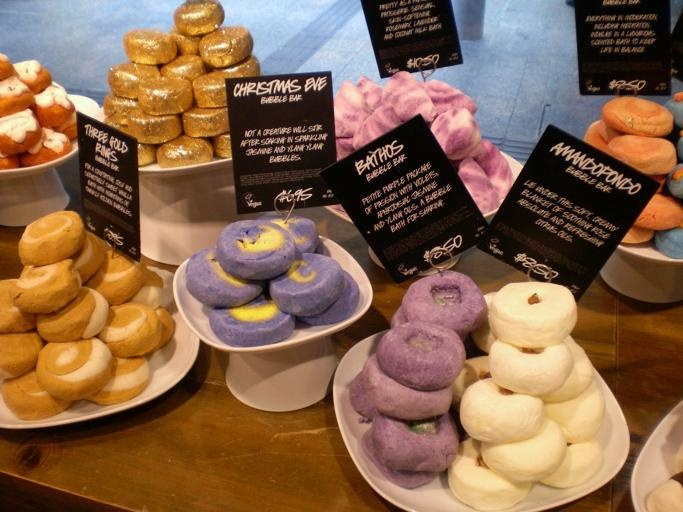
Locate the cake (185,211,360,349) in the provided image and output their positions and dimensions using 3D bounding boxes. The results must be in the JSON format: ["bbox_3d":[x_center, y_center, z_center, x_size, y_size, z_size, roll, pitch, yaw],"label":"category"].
[{"bbox_3d":[-0.136,0.031,1.042,0.312,0.153,0.271,-25,47,-17],"label":"cake"}]

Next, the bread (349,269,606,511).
[{"bbox_3d":[0.243,0.217,0.936,0.449,0.269,0.381,15,49,21],"label":"bread"}]

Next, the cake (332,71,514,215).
[{"bbox_3d":[0.204,-0.320,1.361,0.525,0.220,0.293,24,53,28],"label":"cake"}]
